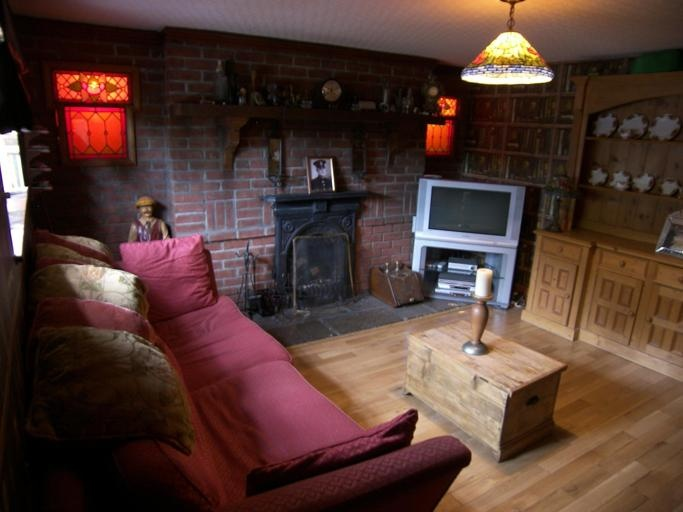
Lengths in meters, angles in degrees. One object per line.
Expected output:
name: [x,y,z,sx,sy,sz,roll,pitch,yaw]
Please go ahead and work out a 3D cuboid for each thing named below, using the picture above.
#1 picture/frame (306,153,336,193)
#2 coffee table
picture/frame: [-0.205,-0.765,4.536,0.389,0.387,0.043,-6,9,-37]
coffee table: [0.884,0.988,3.178,0.718,0.540,0.981,-10,21,-29]
